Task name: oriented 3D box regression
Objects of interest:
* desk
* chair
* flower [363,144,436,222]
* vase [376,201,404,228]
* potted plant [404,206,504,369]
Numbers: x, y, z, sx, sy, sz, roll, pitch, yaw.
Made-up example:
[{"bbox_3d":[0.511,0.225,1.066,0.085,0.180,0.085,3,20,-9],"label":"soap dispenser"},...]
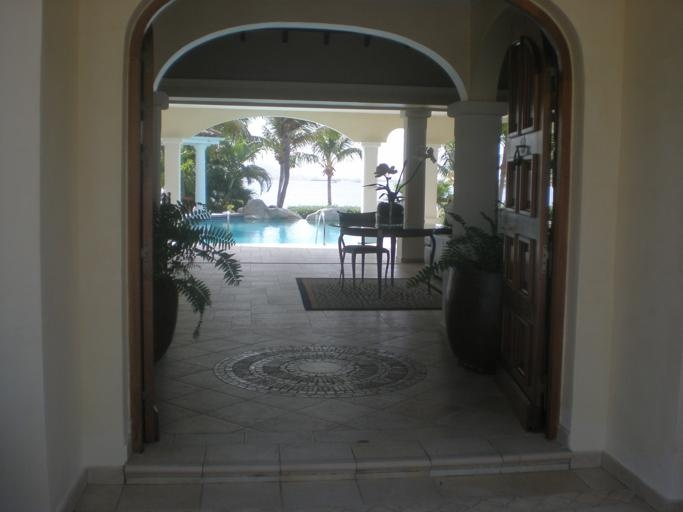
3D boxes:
[{"bbox_3d":[0.655,-0.157,7.832,1.612,0.919,1.726,-3,17,-9],"label":"desk"},{"bbox_3d":[0.312,-0.129,7.942,0.679,1.076,0.678,-3,7,-39],"label":"chair"},{"bbox_3d":[0.784,-0.977,7.563,0.905,1.141,0.799,12,2,-30],"label":"flower"},{"bbox_3d":[0.667,-0.570,7.510,0.296,0.294,0.317,1,6,0],"label":"vase"},{"bbox_3d":[0.803,0.258,5.020,1.007,1.576,1.039,0,2,4],"label":"potted plant"}]
